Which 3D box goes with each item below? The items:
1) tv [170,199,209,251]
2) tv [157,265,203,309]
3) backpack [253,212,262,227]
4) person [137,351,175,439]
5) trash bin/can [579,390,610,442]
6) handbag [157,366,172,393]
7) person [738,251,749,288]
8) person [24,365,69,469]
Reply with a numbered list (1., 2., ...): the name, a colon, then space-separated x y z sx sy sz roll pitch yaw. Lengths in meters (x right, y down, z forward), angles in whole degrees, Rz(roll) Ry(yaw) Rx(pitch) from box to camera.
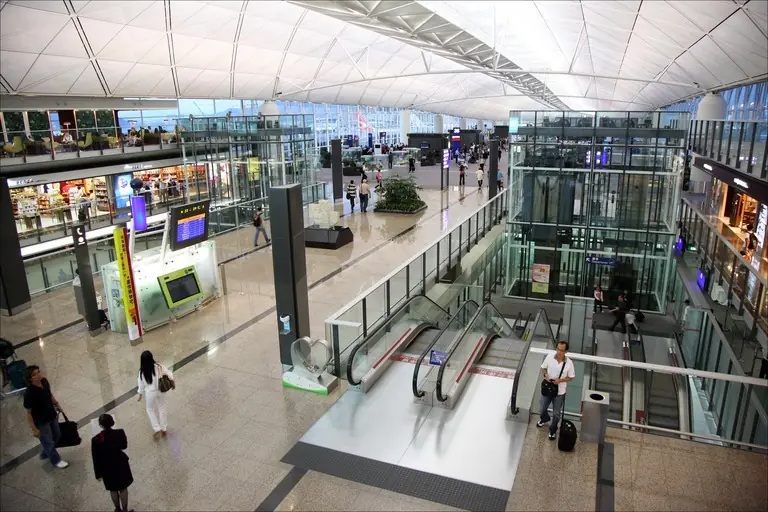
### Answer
1. tv: -7.102 -1.082 17.340 0.244 1.523 1.852 14 14 16
2. tv: -7.486 1.096 17.506 0.228 1.206 1.733 -12 8 23
3. backpack: -6.633 -1.957 24.917 0.347 0.834 0.459 -3 17 0
4. person: -5.671 3.289 11.708 0.819 2.176 0.655 6 19 26
5. trash bin/can: 4.753 3.614 10.709 0.529 1.072 0.450 4 18 20
6. handbag: -5.342 3.077 11.603 0.180 0.504 0.326 8 20 29
7. person: 15.052 0.588 19.826 0.432 1.419 0.577 -4 -14 39
8. person: -7.797 3.672 10.873 0.630 2.427 0.704 -10 19 -24
